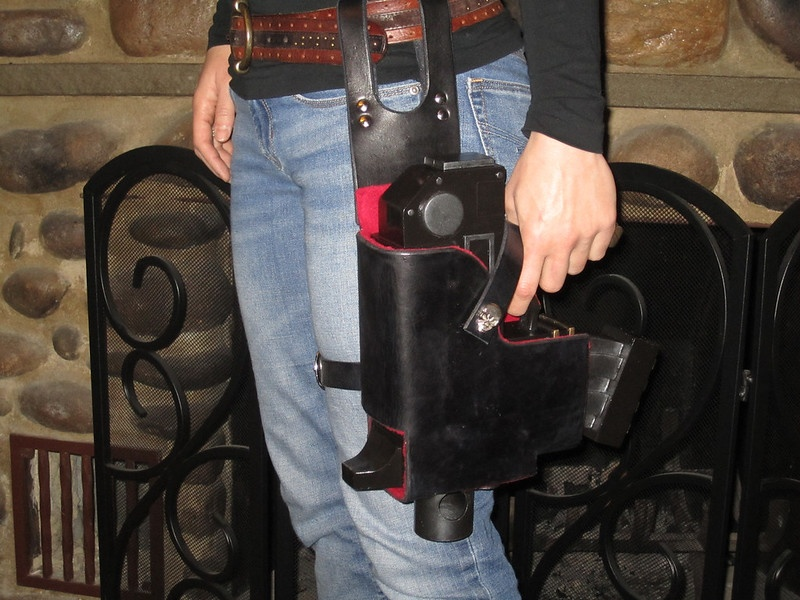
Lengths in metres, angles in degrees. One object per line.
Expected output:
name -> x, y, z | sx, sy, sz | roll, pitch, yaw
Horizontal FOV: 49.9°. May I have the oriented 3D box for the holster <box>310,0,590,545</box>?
holster -> 0.075, -0.041, 1.330 | 0.437, 0.830, 0.167 | -2, 9, -1
